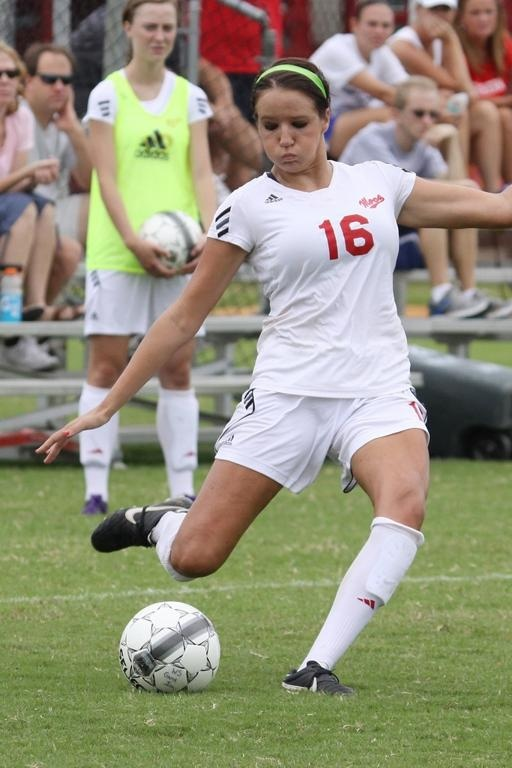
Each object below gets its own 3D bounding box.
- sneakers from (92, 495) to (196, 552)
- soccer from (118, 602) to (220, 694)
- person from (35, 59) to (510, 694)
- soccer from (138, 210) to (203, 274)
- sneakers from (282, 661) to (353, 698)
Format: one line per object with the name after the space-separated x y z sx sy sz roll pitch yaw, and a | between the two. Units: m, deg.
-0.272 0.374 2.806 0.350 0.111 0.136 -10 37 4 | sneakers
-0.212 0.639 2.501 0.242 0.206 0.225 -5 5 4 | soccer
0.103 -0.033 2.496 0.993 1.445 0.483 0 3 9 | person
-0.326 -0.583 4.233 0.266 0.181 0.256 -13 -14 -2 | soccer
0.127 0.659 2.321 0.177 0.064 0.059 3 0 23 | sneakers
